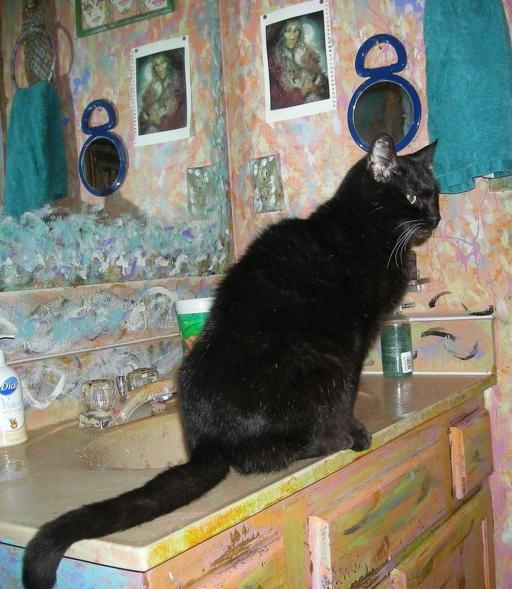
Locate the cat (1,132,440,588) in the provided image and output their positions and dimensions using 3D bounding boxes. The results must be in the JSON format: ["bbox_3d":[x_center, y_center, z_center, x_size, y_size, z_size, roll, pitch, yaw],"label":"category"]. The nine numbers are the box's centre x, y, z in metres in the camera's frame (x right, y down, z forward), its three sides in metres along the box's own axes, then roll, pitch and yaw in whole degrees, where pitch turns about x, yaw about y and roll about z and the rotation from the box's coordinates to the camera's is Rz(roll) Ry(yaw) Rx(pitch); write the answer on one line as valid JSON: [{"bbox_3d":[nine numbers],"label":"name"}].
[{"bbox_3d":[-0.033,-0.024,0.920,0.300,0.509,0.999,19,39,40],"label":"cat"}]

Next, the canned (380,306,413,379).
[{"bbox_3d":[0.379,0.132,1.383,0.120,0.184,0.133,-3,2,20],"label":"canned"}]

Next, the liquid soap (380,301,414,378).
[{"bbox_3d":[0.375,0.128,1.382,0.122,0.186,0.132,-3,2,15],"label":"liquid soap"}]

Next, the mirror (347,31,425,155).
[{"bbox_3d":[0.361,-0.563,1.406,0.224,0.300,0.059,5,10,40],"label":"mirror"}]
